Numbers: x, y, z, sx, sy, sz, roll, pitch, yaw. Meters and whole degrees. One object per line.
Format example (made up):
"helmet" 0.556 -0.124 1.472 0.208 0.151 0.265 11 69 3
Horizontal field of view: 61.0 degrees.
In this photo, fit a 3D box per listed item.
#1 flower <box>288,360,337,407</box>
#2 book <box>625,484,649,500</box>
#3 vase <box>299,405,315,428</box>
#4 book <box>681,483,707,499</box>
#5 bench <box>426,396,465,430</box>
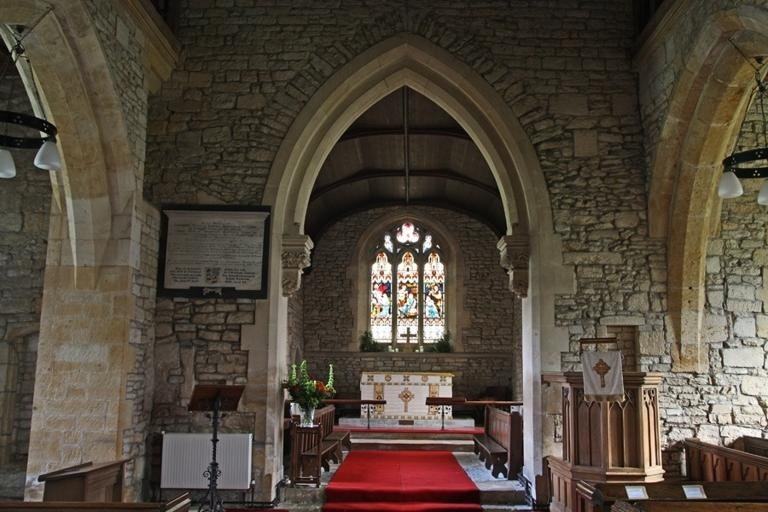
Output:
"flower" -1.152 2.048 10.218 0.702 0.705 1.928 0 -12 -7
"book" 2.388 2.263 6.229 0.215 0.121 0.178 -11 -15 38
"vase" -1.101 2.403 9.668 0.323 0.350 0.277 -1 -13 3
"book" 2.947 2.244 6.197 0.221 0.125 0.158 -2 -12 3
"bench" 1.231 3.239 13.385 0.916 0.738 0.578 1 -14 0
